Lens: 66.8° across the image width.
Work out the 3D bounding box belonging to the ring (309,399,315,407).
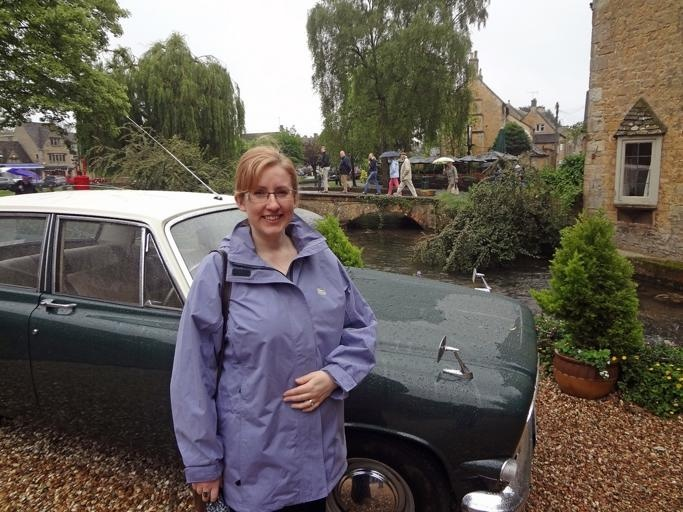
[{"bbox_3d":[-0.162,0.819,2.863,0.025,0.041,0.036,-11,-1,-18],"label":"ring"}]

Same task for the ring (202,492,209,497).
[{"bbox_3d":[-0.736,1.295,2.801,0.037,0.037,0.009,7,-2,-7],"label":"ring"}]

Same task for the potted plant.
[{"bbox_3d":[2.573,0.502,5.355,0.982,1.861,0.571,6,11,31],"label":"potted plant"}]
